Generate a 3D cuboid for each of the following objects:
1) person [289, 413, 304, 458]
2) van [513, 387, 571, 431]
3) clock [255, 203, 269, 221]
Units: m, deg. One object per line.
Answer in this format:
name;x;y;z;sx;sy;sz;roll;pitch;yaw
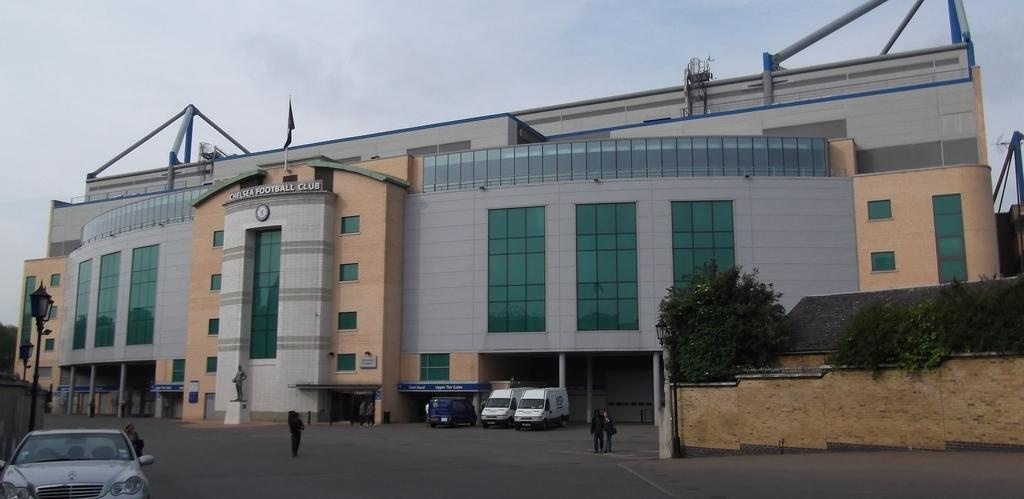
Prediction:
person;-17.670;15.145;83.959;0.865;3.510;1.345;-2;-13;-12
van;2.987;15.717;101.808;2.340;3.874;5.550;-15;-16;39
clock;-27.135;-3.996;111.683;1.592;1.914;0.281;-8;-13;17
